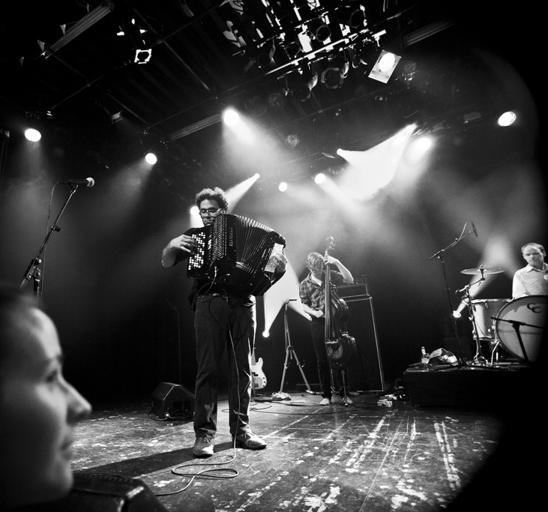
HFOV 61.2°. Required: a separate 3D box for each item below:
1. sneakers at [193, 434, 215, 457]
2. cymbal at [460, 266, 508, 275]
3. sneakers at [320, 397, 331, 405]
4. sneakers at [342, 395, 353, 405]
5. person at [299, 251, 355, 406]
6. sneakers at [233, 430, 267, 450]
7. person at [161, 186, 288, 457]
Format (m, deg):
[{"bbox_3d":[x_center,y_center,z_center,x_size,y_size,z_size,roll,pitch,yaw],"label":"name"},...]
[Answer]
[{"bbox_3d":[-0.479,1.277,3.136,0.138,0.116,0.229,-1,-9,-11],"label":"sneakers"},{"bbox_3d":[2.914,0.216,6.391,0.362,0.082,0.358,0,0,-12],"label":"cymbal"},{"bbox_3d":[0.603,1.703,5.436,0.112,0.119,0.286,-2,-22,6],"label":"sneakers"},{"bbox_3d":[0.848,1.656,5.309,0.127,0.128,0.130,8,-31,-3],"label":"sneakers"},{"bbox_3d":[0.672,0.830,5.938,0.318,1.986,0.648,-9,-6,-33],"label":"person"},{"bbox_3d":[-0.177,1.289,3.262,0.225,0.100,0.108,-8,-12,32],"label":"sneakers"},{"bbox_3d":[-0.429,0.393,3.470,0.748,1.978,0.572,0,-9,-13],"label":"person"}]
